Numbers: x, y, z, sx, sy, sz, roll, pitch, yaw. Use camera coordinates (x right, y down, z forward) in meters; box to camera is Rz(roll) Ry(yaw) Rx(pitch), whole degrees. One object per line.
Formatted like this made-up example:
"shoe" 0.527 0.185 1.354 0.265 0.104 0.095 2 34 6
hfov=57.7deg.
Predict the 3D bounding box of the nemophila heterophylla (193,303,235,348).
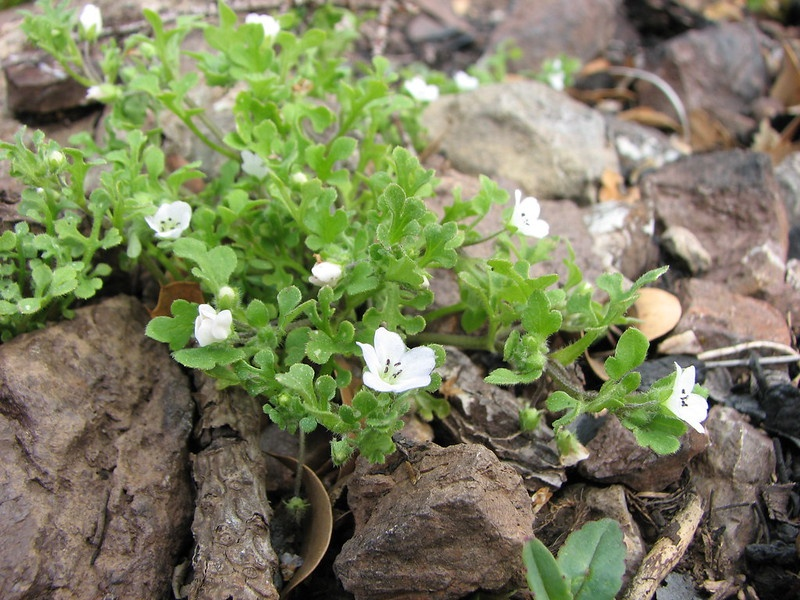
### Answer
"nemophila heterophylla" -0.662 0.091 2.567 0.134 0.132 0.145 10 19 -16

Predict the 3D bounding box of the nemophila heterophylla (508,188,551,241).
"nemophila heterophylla" 0.534 -0.347 3.041 0.157 0.190 0.199 14 36 -3

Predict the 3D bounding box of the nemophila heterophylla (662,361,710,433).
"nemophila heterophylla" 1.003 0.371 2.681 0.208 0.095 0.238 -16 89 -30

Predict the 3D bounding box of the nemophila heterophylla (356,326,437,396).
"nemophila heterophylla" -0.022 0.243 2.513 0.260 0.167 0.214 20 37 2
